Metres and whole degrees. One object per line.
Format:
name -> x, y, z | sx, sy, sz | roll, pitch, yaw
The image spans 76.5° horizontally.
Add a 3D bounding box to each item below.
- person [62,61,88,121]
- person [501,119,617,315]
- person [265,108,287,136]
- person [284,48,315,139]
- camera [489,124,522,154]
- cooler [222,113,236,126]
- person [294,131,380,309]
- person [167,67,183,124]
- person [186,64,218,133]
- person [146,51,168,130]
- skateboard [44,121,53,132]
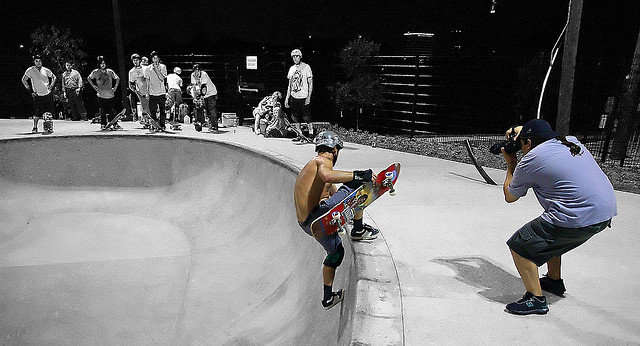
person -> -10.514, -3.468, 17.344 | 0.681, 2.403, 1.005 | -9, 20, -34
person -> 3.803, 0.707, 6.624 | 1.479, 3.007, 1.127 | 2, 16, -1
person -> -1.494, -1.723, 13.706 | 0.862, 0.922, 0.529 | 1, 40, 3
person -> -0.657, -2.597, 13.281 | 0.952, 2.825, 1.096 | -2, 17, -16
camera -> 3.382, -0.541, 7.262 | 0.683, 0.444, 0.228 | -8, 11, 23
cooler -> -3.597, -2.146, 16.168 | 0.634, 0.578, 0.442 | 1, 29, -10
person -> 0.230, 0.792, 6.995 | 0.954, 2.939, 1.091 | -12, 22, -41
person -> -5.826, -3.067, 16.217 | 0.597, 2.280, 1.445 | -4, 17, -20
person -> -4.262, -2.768, 14.865 | 0.867, 2.352, 1.219 | -2, 17, -17
person -> -5.803, -2.947, 14.492 | 0.881, 2.638, 0.563 | 13, 19, 30
skateboard -> -9.326, -1.618, 13.879 | 0.225, 0.360, 0.250 | -11, 21, -39
